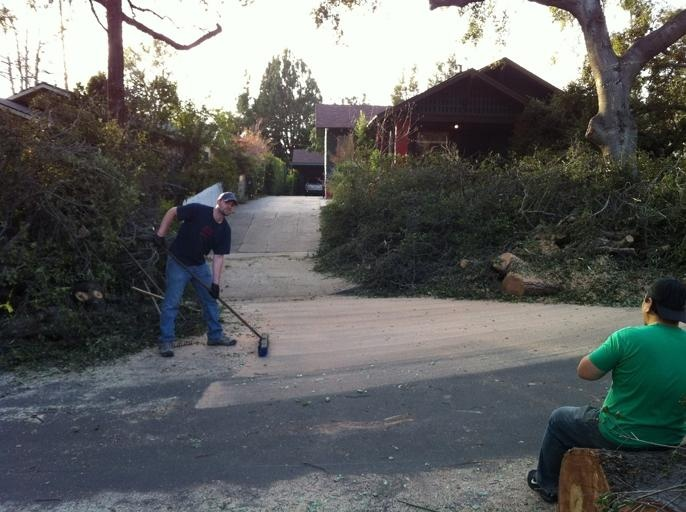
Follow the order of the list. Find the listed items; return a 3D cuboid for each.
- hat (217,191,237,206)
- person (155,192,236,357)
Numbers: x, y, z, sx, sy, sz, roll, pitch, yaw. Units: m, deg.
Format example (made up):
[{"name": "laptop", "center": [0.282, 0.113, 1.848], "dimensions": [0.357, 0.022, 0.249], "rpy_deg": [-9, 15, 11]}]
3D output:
[{"name": "hat", "center": [-1.602, -0.773, 9.133], "dimensions": [0.240, 0.169, 0.225], "rpy_deg": [-6, 12, -17]}, {"name": "person", "center": [-2.147, 0.275, 9.328], "dimensions": [1.163, 2.207, 0.894], "rpy_deg": [0, 1, -42]}]
